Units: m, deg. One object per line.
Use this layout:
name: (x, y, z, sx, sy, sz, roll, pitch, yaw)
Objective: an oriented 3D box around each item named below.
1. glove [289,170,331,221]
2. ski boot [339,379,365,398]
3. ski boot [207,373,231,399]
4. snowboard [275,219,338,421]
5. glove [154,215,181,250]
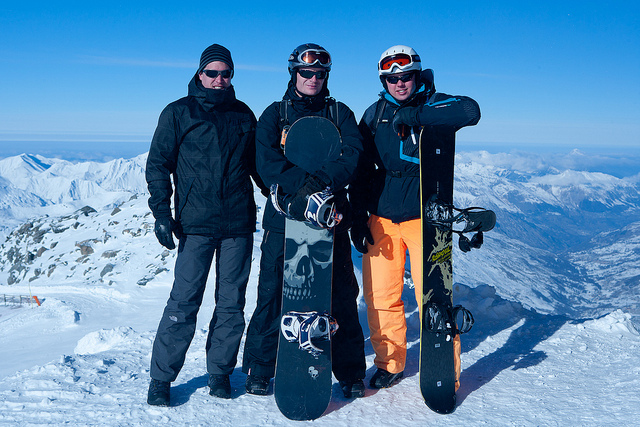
glove: (-0.141, -0.258, 7.525, 0.269, 0.703, 0.404, 47, -2, -38)
ski boot: (0.442, 2.354, 7.858, 0.331, 0.230, 0.122, -1, 4, -1)
ski boot: (-1.344, 2.290, 7.711, 0.170, 0.190, 0.441, 5, 1, -20)
snowboard: (-0.183, 1.452, 7.543, 0.706, 2.719, 0.589, -2, 6, -8)
glove: (-1.995, 0.234, 7.547, 0.326, 0.428, 0.323, -2, 4, -15)
